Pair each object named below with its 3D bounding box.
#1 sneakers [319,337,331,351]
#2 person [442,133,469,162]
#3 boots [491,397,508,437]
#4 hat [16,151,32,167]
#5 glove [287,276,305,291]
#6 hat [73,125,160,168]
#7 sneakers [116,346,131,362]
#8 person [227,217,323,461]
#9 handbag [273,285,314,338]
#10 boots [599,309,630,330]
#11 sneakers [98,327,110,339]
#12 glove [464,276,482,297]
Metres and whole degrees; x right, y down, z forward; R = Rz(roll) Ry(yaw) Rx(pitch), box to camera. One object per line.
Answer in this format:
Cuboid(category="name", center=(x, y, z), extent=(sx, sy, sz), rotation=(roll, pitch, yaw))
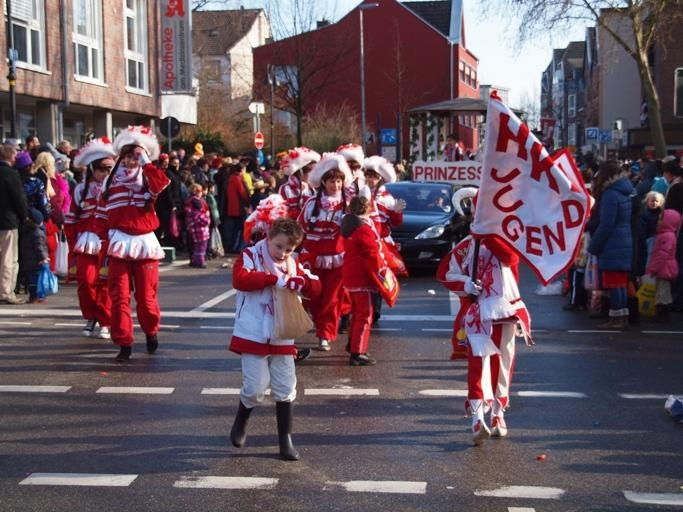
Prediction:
Cuboid(category="sneakers", center=(-0.193, 1.041, 11.125), extent=(0.118, 0.146, 0.334), rotation=(0, -11, -1))
Cuboid(category="person", center=(3.266, -3.040, 26.578), extent=(0.602, 0.659, 1.468), rotation=(1, 9, 5))
Cuboid(category="boots", center=(1.427, 1.432, 8.386), extent=(0.130, 0.323, 0.330), rotation=(-3, 8, 13))
Cuboid(category="hat", center=(-4.734, -1.431, 13.919), extent=(0.177, 0.164, 0.250), rotation=(-4, 13, -7))
Cuboid(category="glove", center=(-0.372, 0.229, 7.740), extent=(0.149, 0.111, 0.053), rotation=(2, 9, 9))
Cuboid(category="hat", center=(-2.551, -1.263, 10.691), extent=(0.781, 0.395, 0.562), rotation=(-7, 3, 24))
Cuboid(category="sneakers", center=(-2.462, 1.079, 10.551), extent=(0.177, 0.172, 0.202), rotation=(-2, 10, -17))
Cuboid(category="person", center=(-0.578, 0.677, 7.847), extent=(0.710, 1.976, 0.443), rotation=(0, 9, -2))
Cuboid(category="handbag", center=(-0.396, 0.480, 7.795), extent=(0.344, 0.437, 0.197), rotation=(-2, 9, -15))
Cuboid(category="boots", center=(3.738, 0.844, 12.629), extent=(0.492, 0.353, 0.208), rotation=(2, 3, 11))
Cuboid(category="sneakers", center=(-2.965, 0.954, 11.669), extent=(0.130, 0.142, 0.309), rotation=(1, -3, -12))
Cuboid(category="glove", center=(1.157, 0.273, 8.245), extent=(0.116, 0.159, 0.078), rotation=(6, -24, -16))
